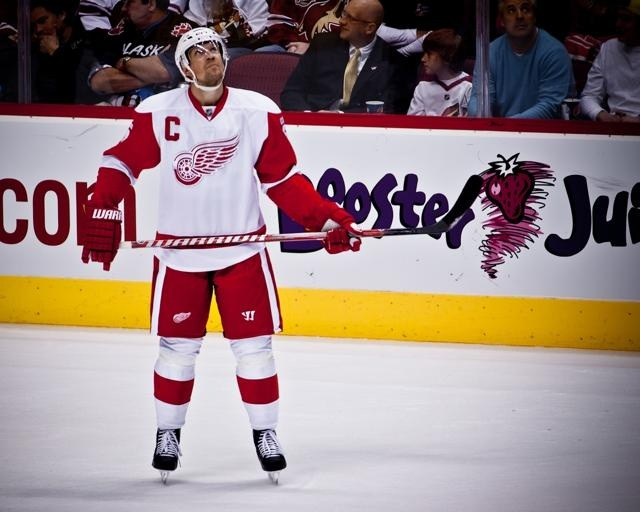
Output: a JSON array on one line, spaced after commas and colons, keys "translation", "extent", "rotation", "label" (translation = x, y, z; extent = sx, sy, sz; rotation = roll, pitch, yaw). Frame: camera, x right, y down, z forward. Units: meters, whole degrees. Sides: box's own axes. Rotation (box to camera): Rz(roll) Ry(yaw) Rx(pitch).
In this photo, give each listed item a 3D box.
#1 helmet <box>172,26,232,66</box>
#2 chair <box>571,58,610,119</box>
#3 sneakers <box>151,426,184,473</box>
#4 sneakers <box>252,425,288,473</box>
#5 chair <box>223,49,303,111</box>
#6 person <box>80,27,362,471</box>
[{"translation": [-0.595, -1.020, 4.959], "extent": [0.197, 0.223, 0.233], "rotation": [-6, -26, -30], "label": "helmet"}, {"translation": [1.721, -1.068, 6.516], "extent": [0.266, 0.338, 0.125], "rotation": [1, 11, 10], "label": "chair"}, {"translation": [-0.722, 0.910, 4.756], "extent": [0.108, 0.182, 0.198], "rotation": [3, 4, -4], "label": "sneakers"}, {"translation": [-0.246, 0.903, 4.745], "extent": [0.087, 0.106, 0.274], "rotation": [-9, 25, -15], "label": "sneakers"}, {"translation": [-0.376, -1.149, 6.592], "extent": [0.358, 0.452, 0.385], "rotation": [1, 28, -1], "label": "chair"}, {"translation": [-0.511, -0.036, 4.827], "extent": [1.252, 2.082, 0.458], "rotation": [4, 3, 0], "label": "person"}]
